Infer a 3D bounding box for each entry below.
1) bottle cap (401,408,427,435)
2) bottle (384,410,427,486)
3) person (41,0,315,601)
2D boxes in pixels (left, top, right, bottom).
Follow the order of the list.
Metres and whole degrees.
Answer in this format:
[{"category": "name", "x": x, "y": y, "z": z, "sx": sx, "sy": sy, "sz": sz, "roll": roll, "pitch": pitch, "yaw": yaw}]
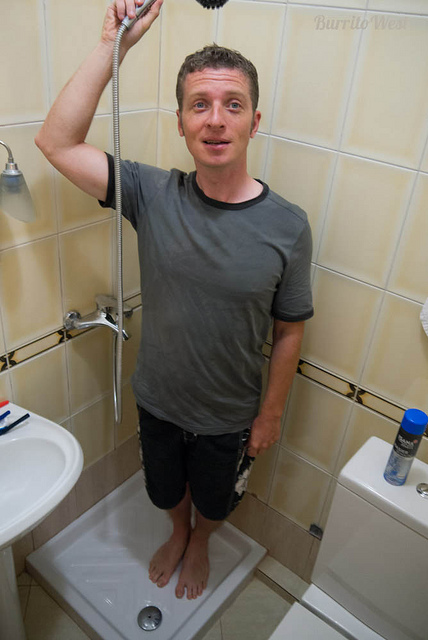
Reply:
[{"category": "bottle cap", "x": 0.416, "y": 0.211, "z": 0.957, "sx": 0.044, "sy": 0.036, "sz": 0.044, "roll": 35, "pitch": 59, "yaw": 30}, {"category": "bottle", "x": 0.412, "y": 0.286, "z": 0.992, "sx": 0.046, "sy": 0.188, "sz": 0.054, "roll": 23, "pitch": 28, "yaw": 30}, {"category": "person", "x": -0.066, "y": 0.135, "z": 1.223, "sx": 0.719, "sy": 1.613, "sz": 0.287, "roll": -3, "pitch": 26, "yaw": -24}]
